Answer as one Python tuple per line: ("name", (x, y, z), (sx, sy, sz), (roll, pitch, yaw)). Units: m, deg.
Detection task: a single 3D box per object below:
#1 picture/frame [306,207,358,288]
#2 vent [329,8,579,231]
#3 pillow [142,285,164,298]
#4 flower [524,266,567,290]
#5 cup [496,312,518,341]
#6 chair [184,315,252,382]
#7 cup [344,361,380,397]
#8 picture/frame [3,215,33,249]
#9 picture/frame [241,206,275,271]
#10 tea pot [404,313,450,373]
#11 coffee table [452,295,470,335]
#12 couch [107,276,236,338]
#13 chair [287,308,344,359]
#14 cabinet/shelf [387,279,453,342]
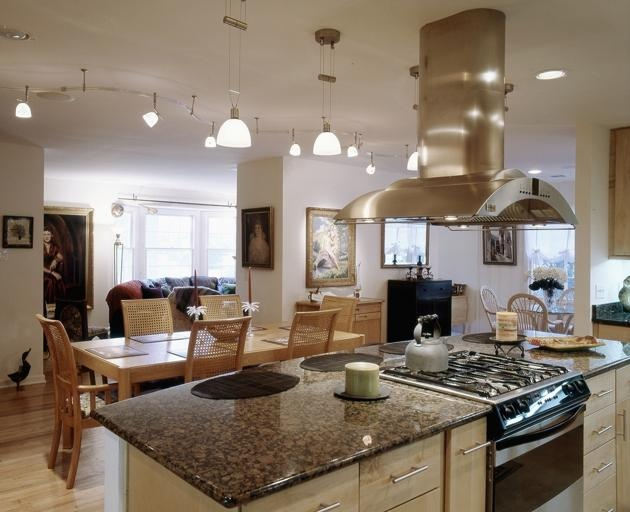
("picture/frame", (0.170, -0.102, 6.291), (1.061, 1.304, 0.093), (2, -3, -42))
("vent", (0.687, -0.696, 2.802), (1.130, 1.276, 1.063), (3, -3, -39))
("pillow", (-2.648, 0.575, 8.013), (0.070, 0.165, 0.207), (-15, -11, 28))
("flower", (3.202, 0.301, 6.771), (0.460, 0.468, 0.523), (2, 2, 13))
("cup", (1.079, 0.405, 2.854), (0.139, 0.170, 0.144), (1, -4, 0))
("chair", (-0.621, 0.588, 3.155), (0.382, 0.384, 0.170), (-1, 1, -38))
("cup", (0.192, 0.506, 2.054), (0.117, 0.093, 0.123), (1, -2, 0))
("picture/frame", (-3.291, -0.265, 5.437), (0.361, 0.516, 0.021), (1, -1, -44))
("picture/frame", (-0.744, -0.243, 6.566), (0.098, 1.012, 0.818), (2, -3, -36))
("tea pot", (0.534, 0.408, 2.346), (0.204, 0.244, 0.208), (0, -1, 0))
("coffee table", (2.716, 1.093, 9.163), (0.272, 0.755, 0.986), (0, 1, 19))
("couch", (-2.291, 0.852, 8.245), (0.856, 0.951, 2.465), (-2, 2, 35))
("chair", (-0.029, 0.542, 3.798), (0.314, 0.583, 0.366), (-2, 7, -34))
("cabinet/shelf", (1.614, 0.811, 7.436), (0.880, 0.869, 0.497), (0, -1, -38))
